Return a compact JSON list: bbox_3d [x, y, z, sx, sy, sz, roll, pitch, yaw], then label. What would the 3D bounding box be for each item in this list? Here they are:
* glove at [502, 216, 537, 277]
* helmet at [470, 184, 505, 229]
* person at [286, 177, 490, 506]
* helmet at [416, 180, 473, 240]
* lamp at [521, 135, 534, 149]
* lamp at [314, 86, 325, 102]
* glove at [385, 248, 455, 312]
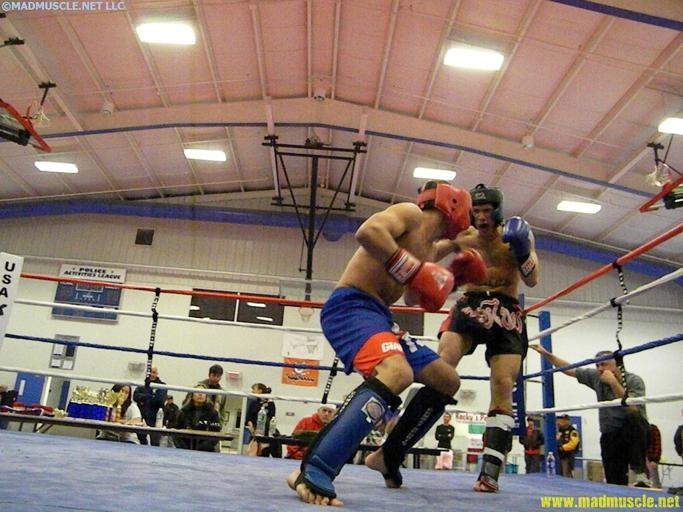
[{"bbox_3d":[0.944,-0.059,2.759,0.263,0.293,0.137,0,4,-13],"label":"glove"},{"bbox_3d":[0.855,-0.302,2.914,0.224,0.229,0.274,0,-4,28],"label":"helmet"},{"bbox_3d":[0.233,0.268,2.219,0.626,1.458,0.806,-8,-26,30],"label":"person"},{"bbox_3d":[0.486,-0.227,2.399,0.326,0.181,0.217,15,-20,5],"label":"helmet"},{"bbox_3d":[3.151,-1.921,8.438,0.237,0.142,0.199,-3,-36,15],"label":"lamp"},{"bbox_3d":[-0.394,-2.874,8.937,0.211,0.166,0.200,1,5,40],"label":"lamp"},{"bbox_3d":[0.314,0.101,2.070,0.348,0.233,0.167,13,-23,-22],"label":"glove"}]
